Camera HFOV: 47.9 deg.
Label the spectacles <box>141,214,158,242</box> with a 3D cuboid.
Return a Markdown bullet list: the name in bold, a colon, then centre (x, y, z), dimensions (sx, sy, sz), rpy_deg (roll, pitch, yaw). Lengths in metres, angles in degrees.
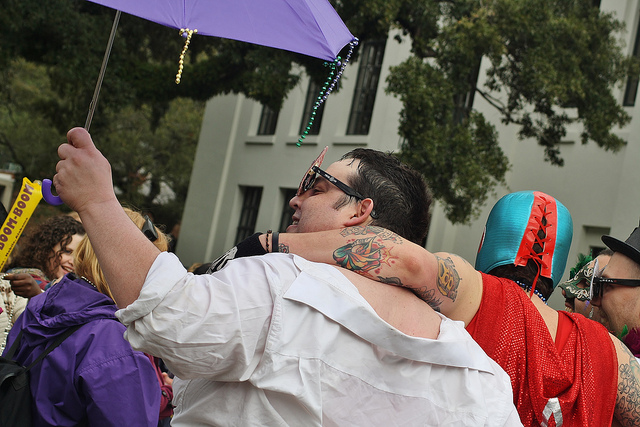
- **spectacles**: centre (-1.115, 0.097, 4.704), dimensions (0.089, 0.083, 0.277), rpy_deg (32, 16, -33)

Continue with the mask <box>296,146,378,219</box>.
- **mask**: centre (0.135, -0.076, 4.076), dimensions (0.555, 0.218, 0.496), rpy_deg (36, 13, 18)

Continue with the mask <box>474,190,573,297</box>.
- **mask**: centre (1.321, 0.128, 4.883), dimensions (0.467, 0.736, 0.643), rpy_deg (24, -8, -30)

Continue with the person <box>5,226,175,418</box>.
- **person**: centre (-1.365, 0.696, 4.279), dimensions (0.635, 1.214, 1.088), rpy_deg (8, -3, -41)

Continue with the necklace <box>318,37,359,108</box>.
- **necklace**: centre (0.119, -0.935, 4.706), dimensions (0.230, 0.539, 0.162), rpy_deg (-5, 8, -26)

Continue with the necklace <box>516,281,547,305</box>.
- **necklace**: centre (1.344, 0.536, 4.578), dimensions (0.159, 0.045, 0.132), rpy_deg (40, 10, 10)

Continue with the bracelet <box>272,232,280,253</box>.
- **bracelet**: centre (-0.233, 0.157, 3.814), dimensions (0.028, 0.134, 0.085), rpy_deg (0, 1, 4)
